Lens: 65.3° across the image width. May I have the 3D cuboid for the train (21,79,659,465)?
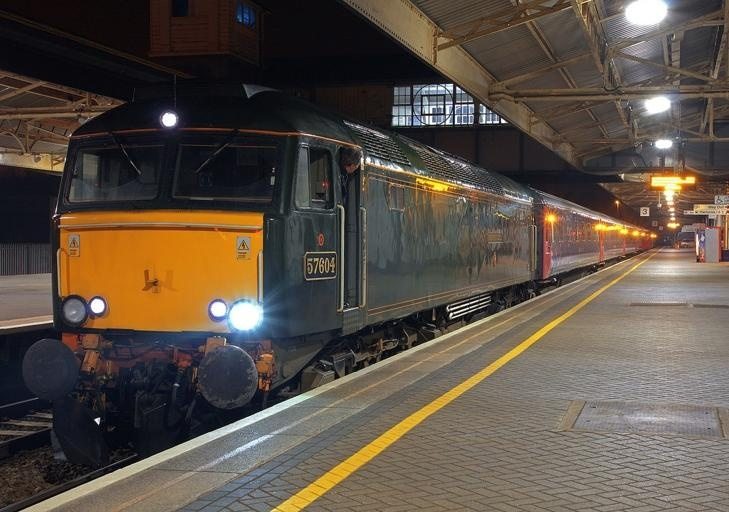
[{"bbox_3d":[1.661,-0.037,15.052,3.312,4.642,18.956,-1,-1,26],"label":"train"}]

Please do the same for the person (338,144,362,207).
[{"bbox_3d":[-0.187,-1.096,8.029,0.283,0.915,0.378,-2,25,19],"label":"person"}]
